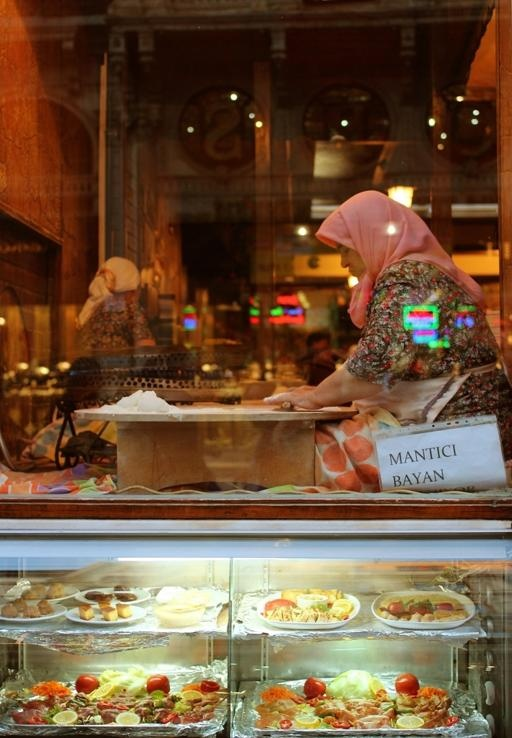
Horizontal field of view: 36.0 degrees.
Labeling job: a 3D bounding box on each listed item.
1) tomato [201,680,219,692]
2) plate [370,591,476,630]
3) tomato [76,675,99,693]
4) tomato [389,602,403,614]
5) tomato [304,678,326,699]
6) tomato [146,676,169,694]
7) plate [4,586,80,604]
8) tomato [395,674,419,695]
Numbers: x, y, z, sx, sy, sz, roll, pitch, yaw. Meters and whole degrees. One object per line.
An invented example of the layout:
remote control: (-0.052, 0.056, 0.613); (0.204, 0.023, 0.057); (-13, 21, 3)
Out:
tomato: (-0.114, 0.768, 1.905); (0.032, 0.011, 0.031); (7, 2, 30)
plate: (0.388, 0.567, 1.830); (0.187, 0.027, 0.113); (-1, 26, 3)
tomato: (-0.417, 0.777, 1.940); (0.045, 0.038, 0.038); (-3, 56, -16)
tomato: (0.326, 0.556, 1.834); (0.028, 0.028, 0.025); (11, 10, 16)
tomato: (0.137, 0.790, 1.945); (0.050, 0.049, 0.039); (19, 56, -39)
tomato: (-0.241, 0.768, 1.920); (0.048, 0.040, 0.040); (1, -17, 2)
plate: (-0.502, 0.527, 1.843); (0.092, 0.010, 0.084); (-1, -1, -5)
tomato: (0.359, 0.756, 1.894); (0.057, 0.048, 0.052); (-5, 6, 7)
